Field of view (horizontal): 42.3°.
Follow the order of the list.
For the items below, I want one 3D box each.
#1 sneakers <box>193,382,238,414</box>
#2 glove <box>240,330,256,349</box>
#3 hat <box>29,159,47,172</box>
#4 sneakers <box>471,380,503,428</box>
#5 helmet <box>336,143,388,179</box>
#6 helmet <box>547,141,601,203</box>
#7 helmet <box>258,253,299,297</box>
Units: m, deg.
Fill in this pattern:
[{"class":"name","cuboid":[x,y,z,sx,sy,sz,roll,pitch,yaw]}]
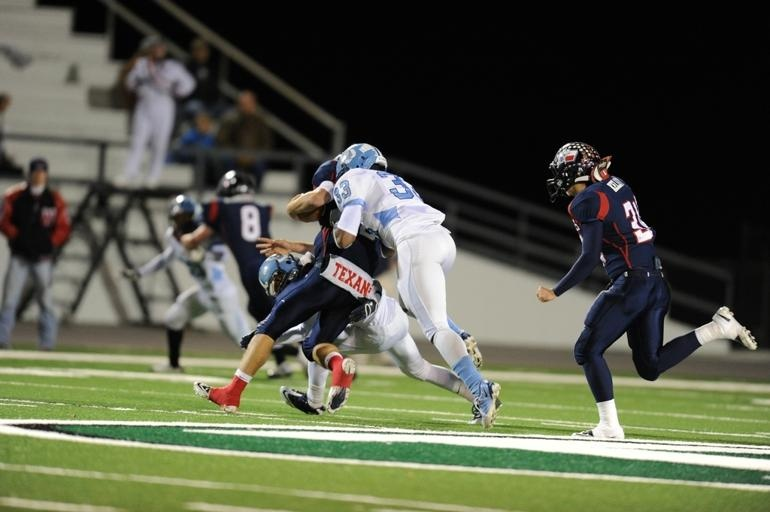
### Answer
[{"class":"sneakers","cuboid":[-1.570,1.310,9.064,0.379,0.172,0.135,37,2,7]},{"class":"glove","cuboid":[-1.288,0.755,9.093,0.072,0.192,0.148,46,42,15]},{"class":"hat","cuboid":[-3.837,-0.988,10.876,0.203,0.137,0.193,1,-6,-11]},{"class":"sneakers","cuboid":[0.884,1.294,8.814,0.261,0.507,0.193,1,18,6]},{"class":"helmet","cuboid":[-0.257,-0.897,9.366,0.467,0.373,0.348,1,-7,17]},{"class":"helmet","cuboid":[1.780,-0.795,9.342,0.564,0.550,0.469,-6,-6,21]},{"class":"helmet","cuboid":[-1.036,0.151,9.423,0.354,0.407,0.333,46,-9,-9]}]
